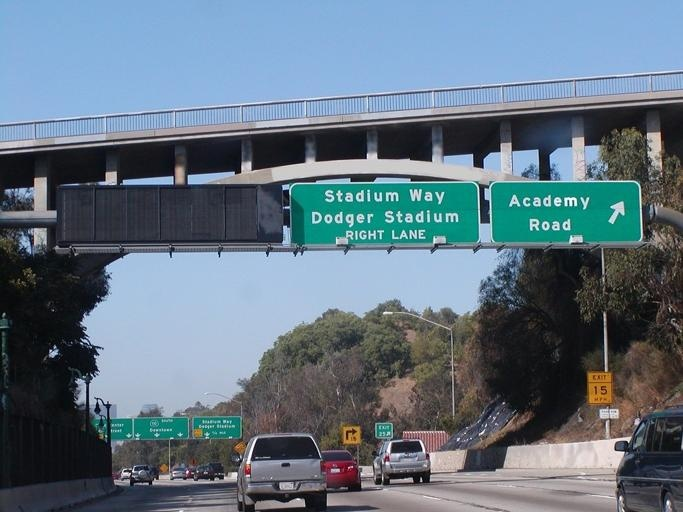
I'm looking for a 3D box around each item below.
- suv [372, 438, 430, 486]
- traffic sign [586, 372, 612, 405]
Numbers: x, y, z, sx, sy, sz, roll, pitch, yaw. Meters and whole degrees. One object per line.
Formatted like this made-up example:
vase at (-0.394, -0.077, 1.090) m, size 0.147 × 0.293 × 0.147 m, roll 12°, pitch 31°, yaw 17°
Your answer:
suv at (3.532, 11.369, 99.988) m, size 2.448 × 2.961 × 3.989 m, roll 0°, pitch -10°, yaw -2°
traffic sign at (15.185, 7.802, 104.367) m, size 1.498 × 2.310 × 0.201 m, roll 1°, pitch -9°, yaw 1°
